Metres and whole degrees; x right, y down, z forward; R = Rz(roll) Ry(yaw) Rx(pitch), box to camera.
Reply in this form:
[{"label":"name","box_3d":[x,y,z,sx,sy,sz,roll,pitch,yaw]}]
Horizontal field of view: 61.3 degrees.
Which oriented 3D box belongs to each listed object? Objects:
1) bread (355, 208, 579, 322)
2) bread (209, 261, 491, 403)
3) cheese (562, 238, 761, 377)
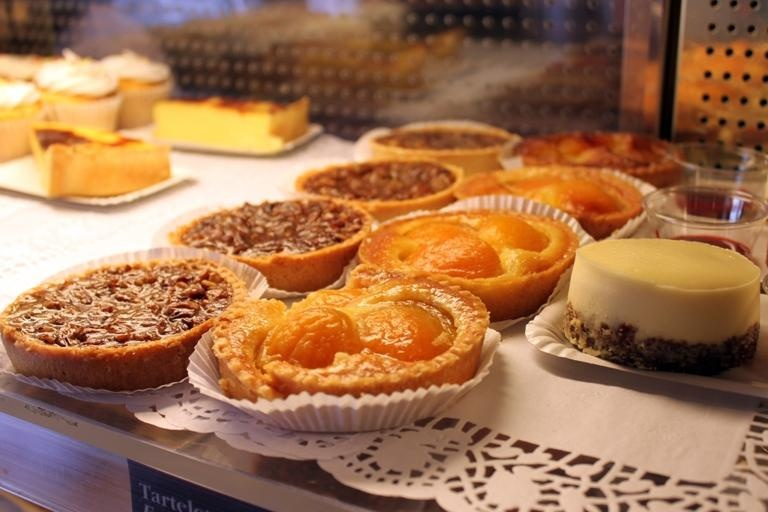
[{"label":"bread","box_3d":[0.265,0.005,1.934,0.635,0.190,0.616,-12,24,-12]},{"label":"bread","box_3d":[-0.081,0.198,1.498,0.430,0.118,0.324,-3,26,-7]},{"label":"cheese","box_3d":[0.694,0.121,1.606,0.456,0.249,0.243,6,25,11]}]
